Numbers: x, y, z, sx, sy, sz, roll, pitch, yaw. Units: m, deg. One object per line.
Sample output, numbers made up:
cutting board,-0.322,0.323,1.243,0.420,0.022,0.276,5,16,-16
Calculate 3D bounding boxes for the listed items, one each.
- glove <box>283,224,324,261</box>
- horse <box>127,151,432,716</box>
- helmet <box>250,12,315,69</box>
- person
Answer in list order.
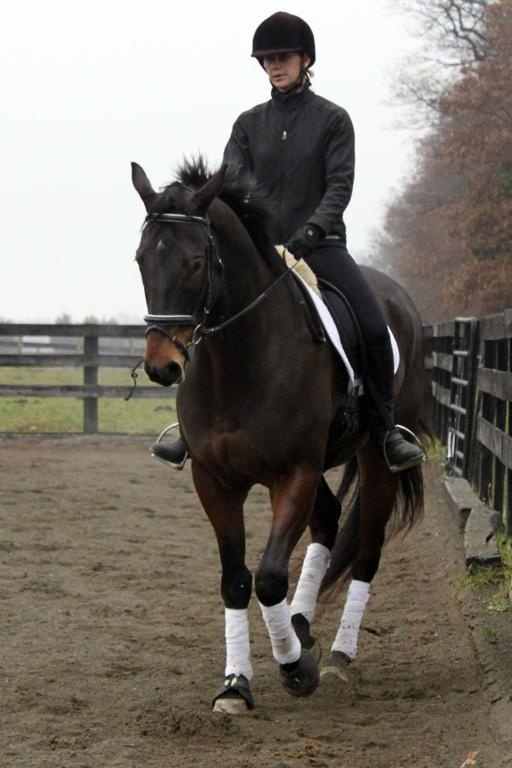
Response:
glove,0.207,-0.588,3.913,0.074,0.119,0.161,44,-33,-18
horse,0.171,0.303,4.498,0.751,2.187,2.931,1,-3,26
helmet,0.115,-1.647,4.421,0.298,0.218,0.379,0,2,3
person,0.136,-0.680,4.354,1.231,2.095,0.903,1,8,5
